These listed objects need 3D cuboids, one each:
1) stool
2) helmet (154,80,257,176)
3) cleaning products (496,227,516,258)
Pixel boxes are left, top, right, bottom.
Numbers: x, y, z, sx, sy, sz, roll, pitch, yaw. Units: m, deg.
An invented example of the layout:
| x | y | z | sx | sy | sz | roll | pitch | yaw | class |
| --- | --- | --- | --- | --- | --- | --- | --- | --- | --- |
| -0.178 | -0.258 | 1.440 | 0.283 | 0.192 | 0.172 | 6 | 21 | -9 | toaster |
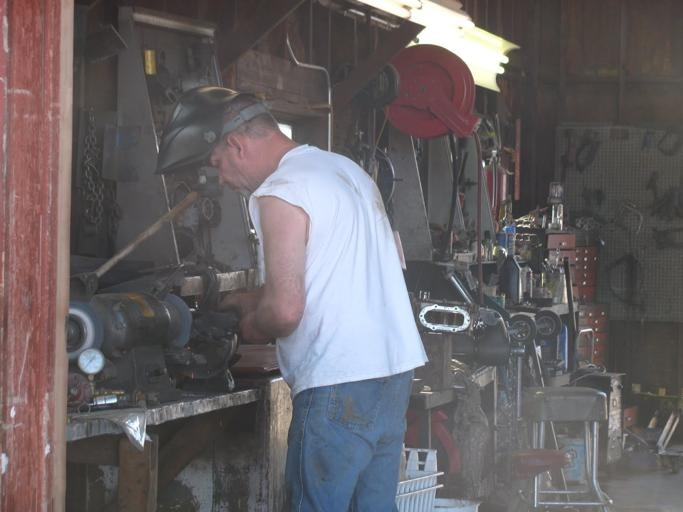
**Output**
| x | y | z | sx | sy | sz | roll | pitch | yaw | class |
| --- | --- | --- | --- | --- | --- | --- | --- | --- | --- |
| 1.578 | 1.372 | 7.167 | 0.585 | 0.914 | 1.285 | 1 | -2 | 11 | stool |
| -0.681 | -0.566 | 4.842 | 0.394 | 0.412 | 0.347 | -4 | -5 | 8 | helmet |
| 1.400 | -0.105 | 8.572 | 0.154 | 0.360 | 0.177 | 1 | -24 | -1 | cleaning products |
